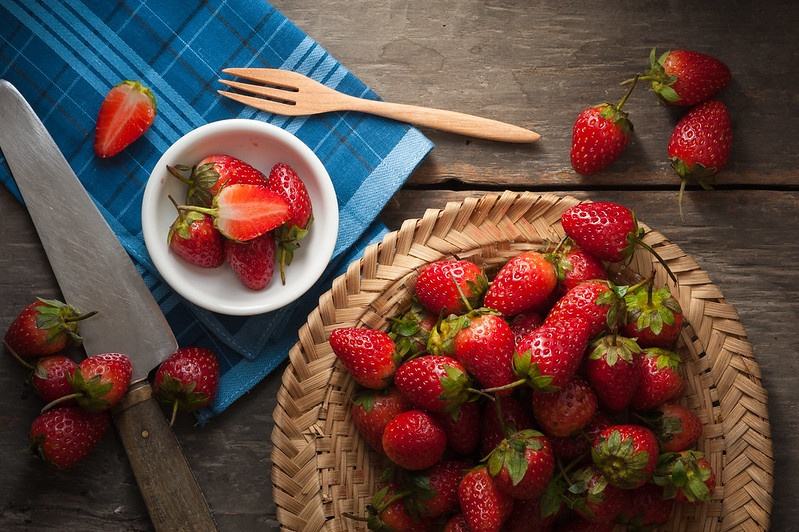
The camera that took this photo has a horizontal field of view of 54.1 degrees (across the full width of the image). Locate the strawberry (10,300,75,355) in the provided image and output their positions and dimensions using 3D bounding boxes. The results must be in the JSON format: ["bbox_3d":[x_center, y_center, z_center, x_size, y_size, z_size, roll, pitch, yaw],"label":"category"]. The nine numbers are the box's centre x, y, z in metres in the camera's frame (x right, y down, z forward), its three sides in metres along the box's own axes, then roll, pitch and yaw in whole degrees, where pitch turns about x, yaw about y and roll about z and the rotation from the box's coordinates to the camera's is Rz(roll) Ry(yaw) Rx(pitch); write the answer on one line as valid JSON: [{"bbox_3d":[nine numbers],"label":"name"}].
[{"bbox_3d":[-0.799,0.141,1.750,0.161,0.128,0.059,7,17,2],"label":"strawberry"}]

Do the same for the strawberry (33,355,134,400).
[{"bbox_3d":[-0.701,0.253,1.751,0.175,0.095,0.109,-1,14,-2],"label":"strawberry"}]

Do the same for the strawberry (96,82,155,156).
[{"bbox_3d":[-0.629,-0.333,1.835,0.122,0.174,0.042,33,1,-3],"label":"strawberry"}]

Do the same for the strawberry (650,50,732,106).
[{"bbox_3d":[0.664,-0.434,1.817,0.164,0.100,0.122,3,61,5],"label":"strawberry"}]

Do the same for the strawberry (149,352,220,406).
[{"bbox_3d":[-0.471,0.247,1.750,0.143,0.103,0.109,-14,42,-23],"label":"strawberry"}]

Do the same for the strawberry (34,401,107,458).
[{"bbox_3d":[-0.728,0.371,1.771,0.139,0.096,0.100,-22,64,-19],"label":"strawberry"}]

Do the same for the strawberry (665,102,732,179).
[{"bbox_3d":[0.699,-0.291,1.824,0.133,0.181,0.075,12,18,15],"label":"strawberry"}]

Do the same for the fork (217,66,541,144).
[{"bbox_3d":[-0.081,-0.370,1.820,0.795,0.107,0.063,10,-5,-8],"label":"fork"}]
